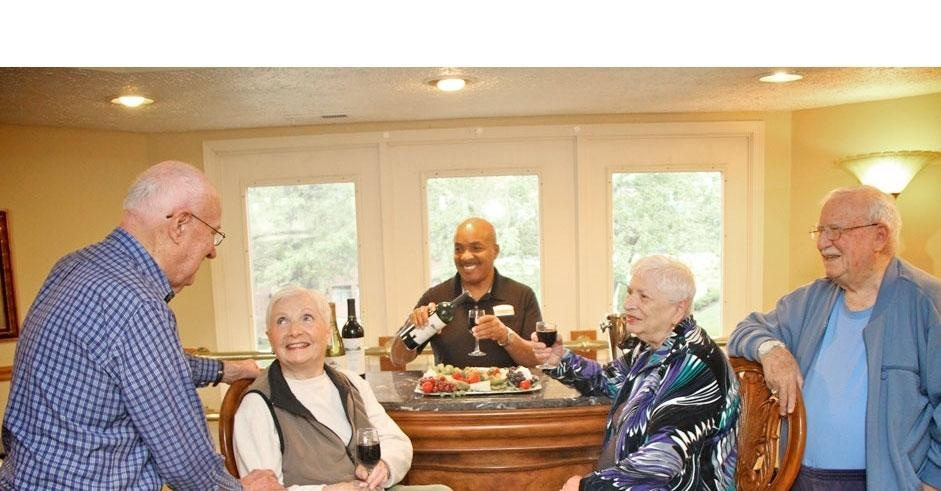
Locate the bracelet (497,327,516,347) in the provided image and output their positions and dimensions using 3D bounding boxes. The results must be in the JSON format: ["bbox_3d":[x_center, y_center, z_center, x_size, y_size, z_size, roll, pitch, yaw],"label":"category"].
[{"bbox_3d":[0.201,0.517,3.733,0.084,0.080,0.181,-3,-4,2],"label":"bracelet"}]

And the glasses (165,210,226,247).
[{"bbox_3d":[-1.172,-0.073,2.818,0.146,0.148,0.041,-16,34,47],"label":"glasses"}]

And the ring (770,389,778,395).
[{"bbox_3d":[1.430,0.696,3.148,0.011,0.027,0.020,-30,17,40],"label":"ring"}]

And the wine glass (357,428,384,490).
[{"bbox_3d":[-0.467,0.996,3.081,0.108,0.301,0.158,-3,-2,-9],"label":"wine glass"}]
